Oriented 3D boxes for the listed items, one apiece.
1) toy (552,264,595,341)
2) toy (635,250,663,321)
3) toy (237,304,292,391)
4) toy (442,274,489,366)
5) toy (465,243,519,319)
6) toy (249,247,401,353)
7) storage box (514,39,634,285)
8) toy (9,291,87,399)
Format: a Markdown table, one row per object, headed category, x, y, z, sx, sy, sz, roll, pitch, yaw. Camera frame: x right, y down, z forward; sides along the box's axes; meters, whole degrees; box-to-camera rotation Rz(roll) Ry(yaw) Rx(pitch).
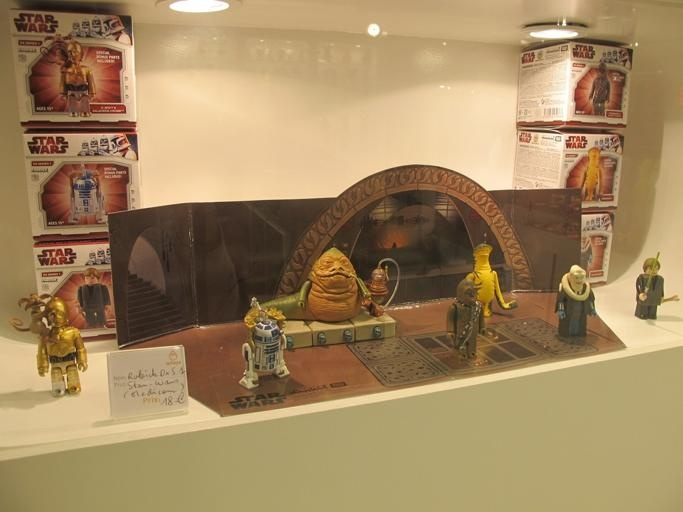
| category | x | y | z | sx | sy | sz | roll | pitch | yaw |
| --- | --- | --- | --- | --- | --- | --- | --- | --- | --- |
| toy | 1.051 | 0.196 | 2.328 | 0.225 | 0.328 | 0.125 | -5 | 11 | -20 |
| toy | 1.512 | 0.145 | 2.558 | 0.117 | 0.298 | 0.190 | 5 | 12 | 31 |
| toy | -0.285 | 0.311 | 2.063 | 0.180 | 0.334 | 0.300 | 3 | 11 | 25 |
| toy | 0.529 | 0.256 | 2.167 | 0.174 | 0.332 | 0.091 | -8 | 12 | -32 |
| toy | 0.689 | 0.109 | 2.430 | 0.313 | 0.361 | 0.135 | -6 | 3 | -25 |
| toy | -0.022 | 0.215 | 2.276 | 0.659 | 0.397 | 0.409 | -5 | 11 | -20 |
| storage box | 1.181 | -0.444 | 2.628 | 0.651 | 1.199 | 0.185 | -5 | 11 | -19 |
| toy | -1.067 | 0.327 | 1.943 | 0.196 | 0.381 | 0.121 | -5 | 11 | -21 |
